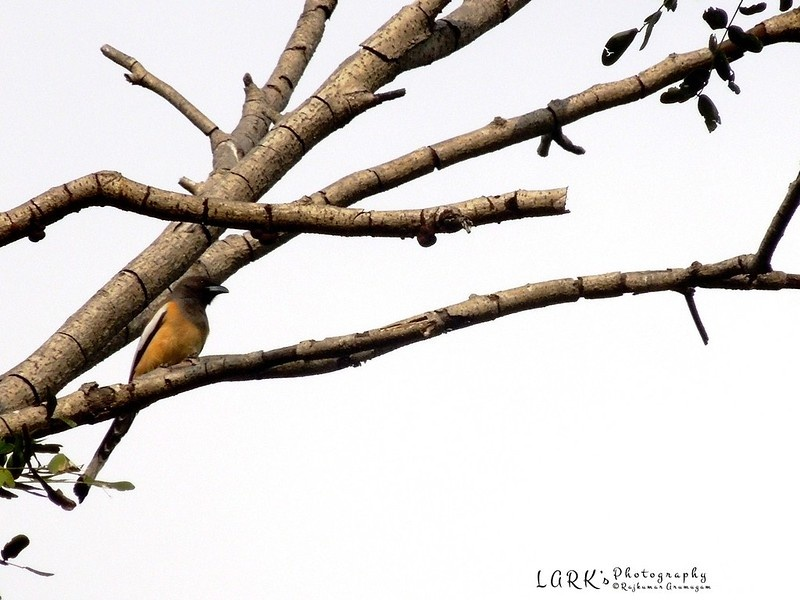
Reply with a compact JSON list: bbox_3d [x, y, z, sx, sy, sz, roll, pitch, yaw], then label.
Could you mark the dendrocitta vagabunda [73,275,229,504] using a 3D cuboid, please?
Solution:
[{"bbox_3d":[-1.606,0.500,7.660,0.416,0.689,1.568,35,-74,-26],"label":"dendrocitta vagabunda"}]
